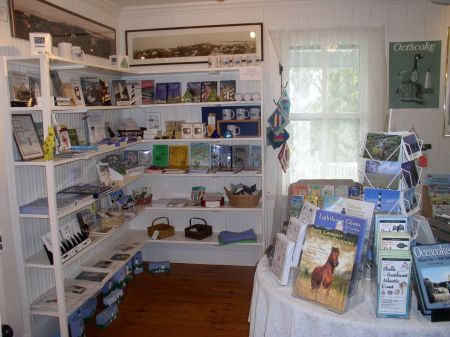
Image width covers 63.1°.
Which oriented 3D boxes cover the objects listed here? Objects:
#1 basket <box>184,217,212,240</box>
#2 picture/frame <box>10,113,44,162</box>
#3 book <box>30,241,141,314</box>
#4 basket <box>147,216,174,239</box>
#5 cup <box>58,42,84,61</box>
[{"bbox_3d":[-0.363,0.811,4.854,0.271,0.250,0.281,0,5,18],"label":"basket"},{"bbox_3d":[-1.750,-0.260,3.239,0.034,0.457,0.366,-15,6,18],"label":"picture/frame"},{"bbox_3d":[-1.420,1.213,3.924,0.497,0.304,1.377,4,16,15],"label":"book"},{"bbox_3d":[-0.853,0.805,4.927,0.302,0.291,0.300,3,4,41],"label":"basket"},{"bbox_3d":[-1.417,-1.101,3.430,0.242,0.184,0.157,2,2,-31],"label":"cup"}]
